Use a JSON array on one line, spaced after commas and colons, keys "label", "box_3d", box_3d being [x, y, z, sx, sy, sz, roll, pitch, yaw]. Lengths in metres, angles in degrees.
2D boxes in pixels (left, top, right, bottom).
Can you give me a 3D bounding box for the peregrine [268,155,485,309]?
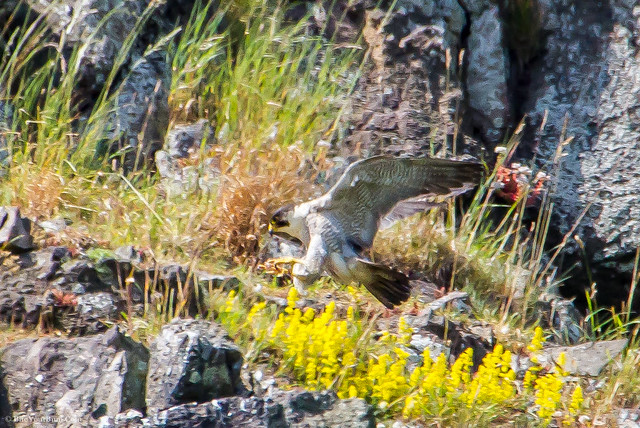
[{"label": "peregrine", "box_3d": [0.364, 0.045, 9.229, 1.131, 1.562, 0.690, 16, 51, -8]}]
